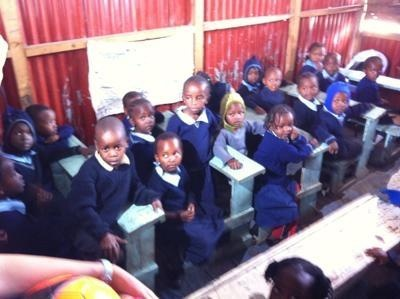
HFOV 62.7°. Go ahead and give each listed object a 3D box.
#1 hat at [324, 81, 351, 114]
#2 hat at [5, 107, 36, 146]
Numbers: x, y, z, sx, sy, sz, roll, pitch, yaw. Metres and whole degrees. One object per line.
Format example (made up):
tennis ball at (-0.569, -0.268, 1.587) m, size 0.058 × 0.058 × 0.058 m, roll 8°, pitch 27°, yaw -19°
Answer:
hat at (1.544, -0.619, 3.773) m, size 0.268 × 0.352 × 0.353 m, roll -6°, pitch 14°, yaw -17°
hat at (-1.536, -0.218, 2.708) m, size 0.323 × 0.268 × 0.230 m, roll 27°, pitch 31°, yaw 33°
